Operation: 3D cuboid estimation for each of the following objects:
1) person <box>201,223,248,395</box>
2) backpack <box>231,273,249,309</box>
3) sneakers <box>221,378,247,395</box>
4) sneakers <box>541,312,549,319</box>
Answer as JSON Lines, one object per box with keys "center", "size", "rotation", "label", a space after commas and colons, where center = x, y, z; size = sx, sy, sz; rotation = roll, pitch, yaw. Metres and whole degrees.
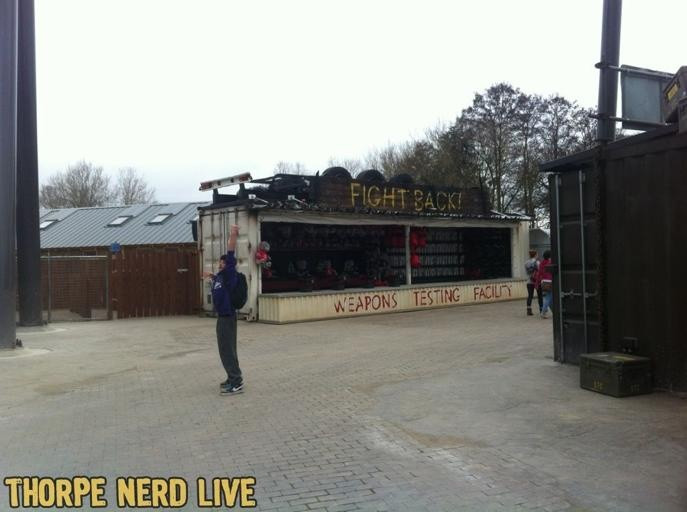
{"center": [-1.929, 0.897, 10.231], "size": [0.615, 2.746, 0.757], "rotation": [-2, 4, -10], "label": "person"}
{"center": [-1.739, 0.612, 10.286], "size": [0.230, 0.628, 0.362], "rotation": [-1, 4, -1], "label": "backpack"}
{"center": [-1.818, 2.190, 10.102], "size": [0.366, 0.212, 0.172], "rotation": [6, -6, -26], "label": "sneakers"}
{"center": [6.035, 1.821, 18.268], "size": [0.184, 0.126, 0.261], "rotation": [2, 1, 2], "label": "sneakers"}
